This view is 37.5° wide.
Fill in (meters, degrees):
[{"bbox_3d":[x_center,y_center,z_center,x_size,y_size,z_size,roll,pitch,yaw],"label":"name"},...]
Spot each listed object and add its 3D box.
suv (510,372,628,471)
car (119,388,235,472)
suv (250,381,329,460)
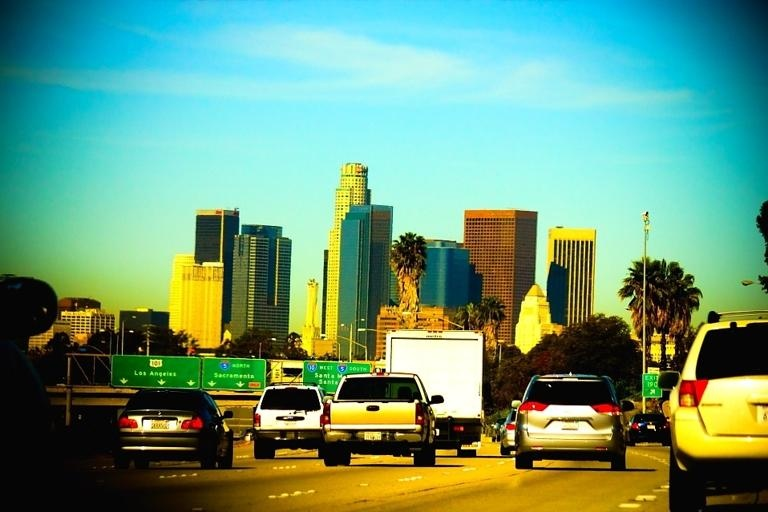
[{"bbox_3d":[4.914,4.010,29.274,2.569,2.403,5.085,0,2,13],"label":"suv"},{"bbox_3d":[-5.079,4.263,27.307,2.767,1.965,1.500,0,0,-19],"label":"car"},{"bbox_3d":[-2.803,4.946,33.461,2.023,2.059,1.235,0,0,-4],"label":"suv"}]
